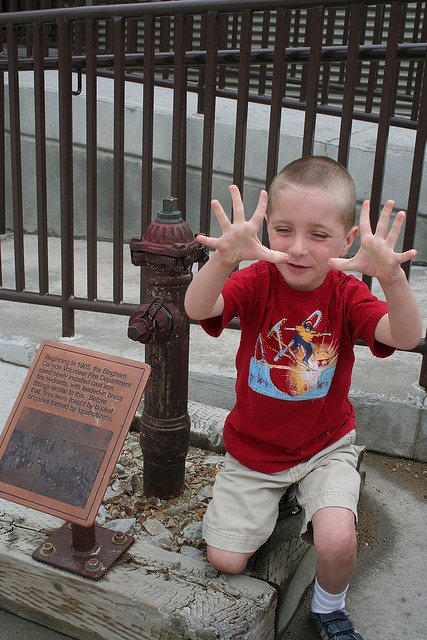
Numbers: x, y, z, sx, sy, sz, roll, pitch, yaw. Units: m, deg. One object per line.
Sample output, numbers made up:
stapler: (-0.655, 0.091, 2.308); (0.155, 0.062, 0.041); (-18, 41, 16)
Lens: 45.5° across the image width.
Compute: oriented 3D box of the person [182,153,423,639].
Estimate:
person: (0.212, 0.222, 1.369); (0.606, 1.334, 0.619); (5, 4, 12)
